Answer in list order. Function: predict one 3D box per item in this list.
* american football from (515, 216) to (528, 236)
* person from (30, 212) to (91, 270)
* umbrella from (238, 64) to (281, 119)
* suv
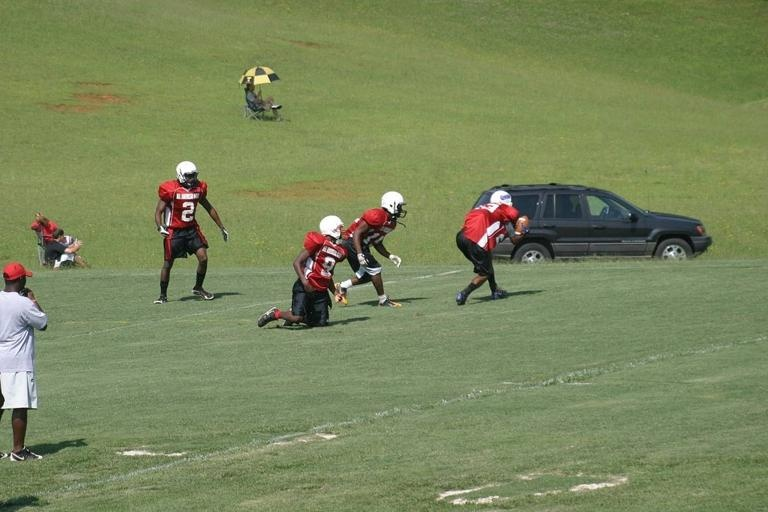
[{"bbox_3d":[3.846,-0.837,39.673,0.256,0.516,0.408,48,25,7],"label":"american football"},{"bbox_3d":[-11.170,-0.373,47.702,1.171,2.236,1.245,0,1,-5],"label":"person"},{"bbox_3d":[-5.985,-8.201,71.564,2.484,3.068,2.206,-12,26,-17],"label":"umbrella"},{"bbox_3d":[6.939,-0.984,46.477,8.107,3.143,2.069,0,1,-1],"label":"suv"}]
